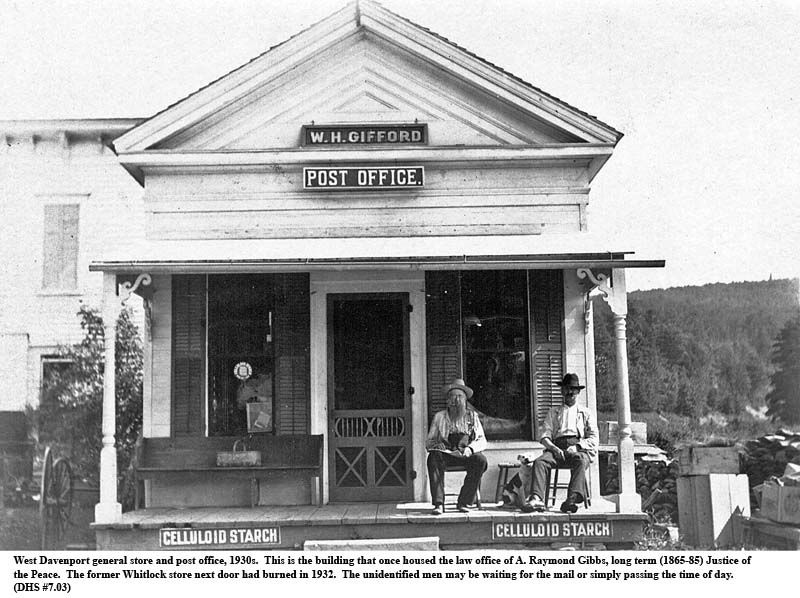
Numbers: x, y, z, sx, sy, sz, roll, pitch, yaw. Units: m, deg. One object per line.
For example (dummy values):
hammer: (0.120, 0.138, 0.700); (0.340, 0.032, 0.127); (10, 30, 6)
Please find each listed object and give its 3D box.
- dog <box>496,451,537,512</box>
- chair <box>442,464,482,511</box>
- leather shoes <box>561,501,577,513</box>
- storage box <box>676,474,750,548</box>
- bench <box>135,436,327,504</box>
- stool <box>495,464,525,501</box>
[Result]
dog: (1.839, 2.841, 22.368); (0.765, 0.985, 0.615); (0, -6, 10)
chair: (0.962, 2.830, 21.905); (0.593, 0.701, 0.701); (1, 2, 0)
leather shoes: (2.579, 3.128, 21.705); (0.298, 0.198, 0.230); (2, -8, -13)
storage box: (4.802, 3.242, 22.957); (0.937, 1.080, 0.960); (-9, 8, -22)
bench: (-2.679, 2.745, 22.886); (2.871, 1.230, 0.685); (0, -5, -8)
stool: (1.710, 2.849, 22.409); (0.538, 0.741, 0.533); (0, -21, 2)
